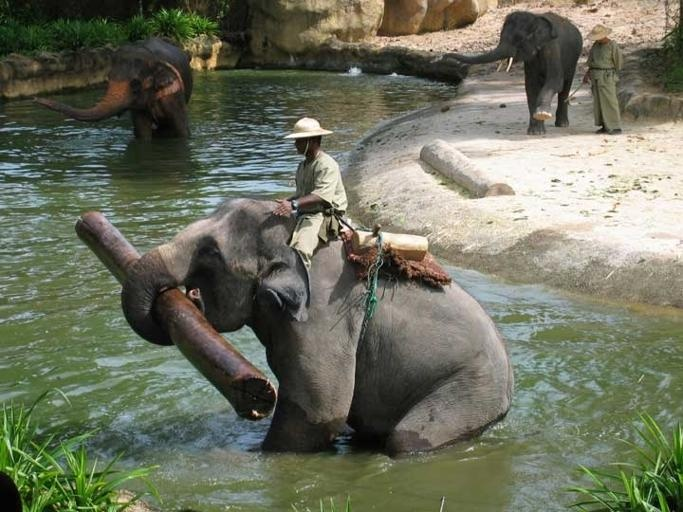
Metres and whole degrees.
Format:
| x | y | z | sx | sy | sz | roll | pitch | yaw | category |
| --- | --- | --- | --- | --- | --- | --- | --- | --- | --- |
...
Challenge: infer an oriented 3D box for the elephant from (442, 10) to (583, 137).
| x | y | z | sx | sy | sz | roll | pitch | yaw | category |
| --- | --- | --- | --- | --- | --- | --- | --- | --- | --- |
| 3.207 | -3.118 | 13.977 | 1.132 | 1.841 | 3.473 | 7 | 14 | 42 | elephant |

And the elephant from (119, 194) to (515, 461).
| x | y | z | sx | sy | sz | roll | pitch | yaw | category |
| --- | --- | --- | --- | --- | --- | --- | --- | --- | --- |
| -0.162 | 0.598 | 5.713 | 2.753 | 1.373 | 1.207 | 17 | 12 | 2 | elephant |

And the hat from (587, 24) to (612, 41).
| x | y | z | sx | sy | sz | roll | pitch | yaw | category |
| --- | --- | --- | --- | --- | --- | --- | --- | --- | --- |
| 4.025 | -3.495 | 12.816 | 0.314 | 0.268 | 0.754 | 0 | 13 | 16 | hat |

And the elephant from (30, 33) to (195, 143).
| x | y | z | sx | sy | sz | roll | pitch | yaw | category |
| --- | --- | --- | --- | --- | --- | --- | --- | --- | --- |
| -3.467 | -2.860 | 14.784 | 1.385 | 1.867 | 3.449 | 10 | 26 | 39 | elephant |

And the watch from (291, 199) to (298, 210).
| x | y | z | sx | sy | sz | roll | pitch | yaw | category |
| --- | --- | --- | --- | --- | --- | --- | --- | --- | --- |
| -0.304 | -0.323 | 5.273 | 0.045 | 0.060 | 0.060 | 5 | -14 | -13 | watch |

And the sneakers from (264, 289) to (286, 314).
| x | y | z | sx | sy | sz | roll | pitch | yaw | category |
| --- | --- | --- | --- | --- | --- | --- | --- | --- | --- |
| -0.413 | 0.271 | 5.071 | 0.040 | 0.163 | 0.105 | -40 | 22 | -28 | sneakers |

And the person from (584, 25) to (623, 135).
| x | y | z | sx | sy | sz | roll | pitch | yaw | category |
| --- | --- | --- | --- | --- | --- | --- | --- | --- | --- |
| 4.125 | -2.792 | 12.980 | 0.562 | 1.679 | 0.726 | 0 | 15 | 17 | person |
